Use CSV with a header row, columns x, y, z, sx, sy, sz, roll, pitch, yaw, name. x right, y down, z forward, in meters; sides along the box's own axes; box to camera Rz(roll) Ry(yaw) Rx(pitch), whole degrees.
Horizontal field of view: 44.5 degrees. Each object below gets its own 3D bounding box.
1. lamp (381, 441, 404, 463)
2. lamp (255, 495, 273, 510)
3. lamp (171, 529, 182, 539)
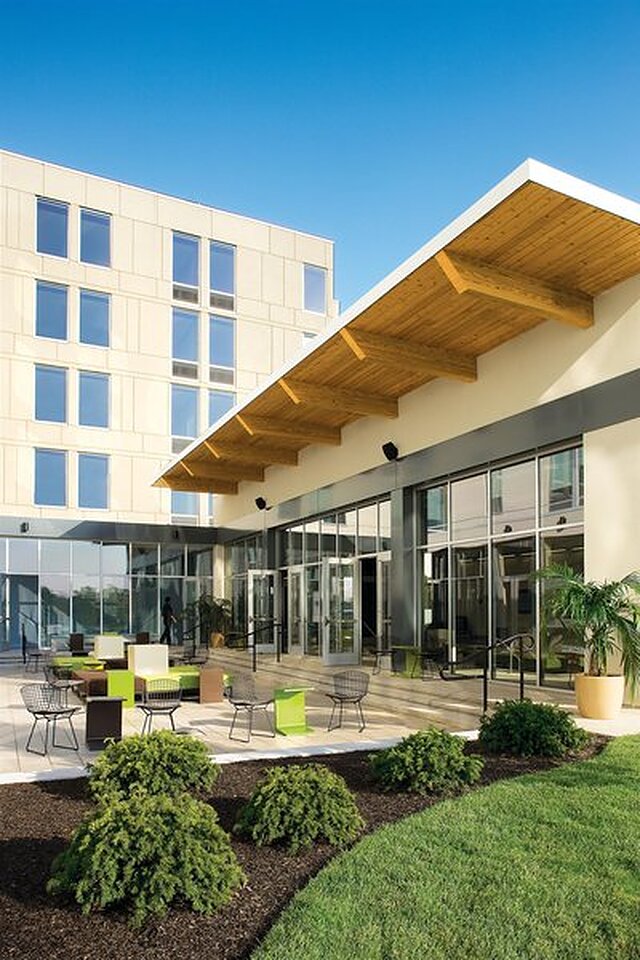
x,y,z,sx,sy,sz,roll,pitch,yaw,name
1.399,-0.565,15.865,0.253,0.469,0.686,6,-11,-13,lamp
-1.640,0.665,23.065,0.237,0.346,0.191,-34,-54,3,lamp
-5.071,1.911,27.471,0.240,0.347,0.096,6,-9,-42,lamp
